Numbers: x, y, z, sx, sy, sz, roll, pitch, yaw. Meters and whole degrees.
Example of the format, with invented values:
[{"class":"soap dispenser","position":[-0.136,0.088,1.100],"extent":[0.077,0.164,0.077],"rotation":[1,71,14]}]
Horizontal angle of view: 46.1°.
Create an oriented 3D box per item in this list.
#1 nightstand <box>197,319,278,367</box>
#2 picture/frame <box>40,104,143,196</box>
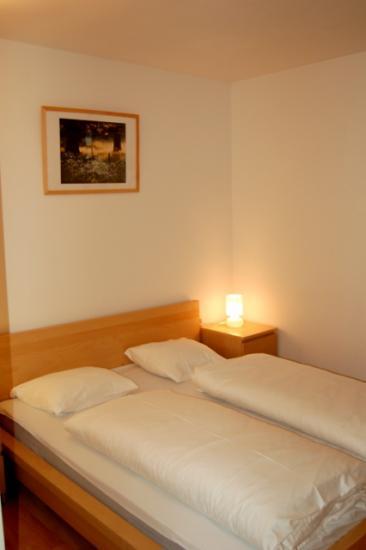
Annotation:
[{"class":"nightstand","position":[0.295,0.339,2.268],"extent":[0.256,0.247,0.240],"rotation":[7,13,43]},{"class":"picture/frame","position":[-0.302,-0.430,1.508],"extent":[0.369,0.288,0.328],"rotation":[-3,8,-18]}]
